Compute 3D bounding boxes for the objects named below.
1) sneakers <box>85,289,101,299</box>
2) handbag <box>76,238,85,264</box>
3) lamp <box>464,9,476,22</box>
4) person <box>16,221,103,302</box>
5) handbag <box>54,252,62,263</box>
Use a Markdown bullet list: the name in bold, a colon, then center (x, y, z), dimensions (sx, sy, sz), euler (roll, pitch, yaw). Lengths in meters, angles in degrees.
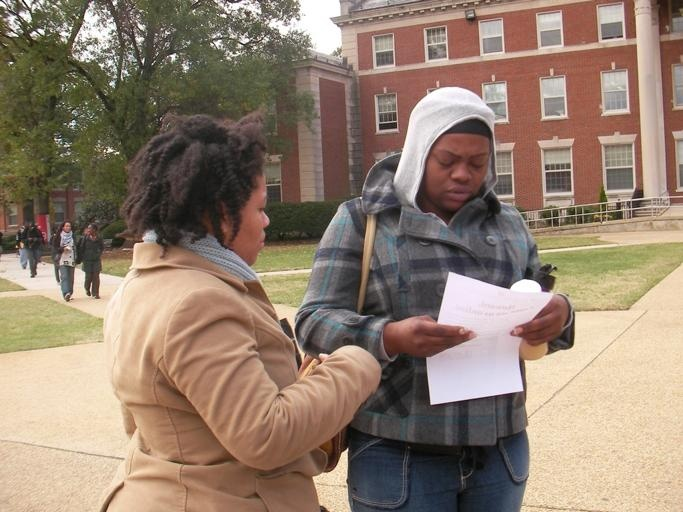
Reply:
- **sneakers**: center (-5.959, 0.944, 14.986), dimensions (0.168, 0.222, 0.542), euler (2, -5, -42)
- **handbag**: center (-6.147, -0.146, 14.666), dimensions (0.237, 0.490, 0.815), euler (-5, 2, -23)
- **lamp**: center (6.740, -12.630, 32.725), dimensions (0.505, 0.499, 0.497), euler (-2, -33, 1)
- **person**: center (-6.289, 0.096, 14.902), dimensions (0.961, 1.464, 1.529), euler (-6, 3, -41)
- **handbag**: center (-7.054, 0.032, 15.498), dimensions (0.203, 0.287, 0.147), euler (1, 7, 20)
